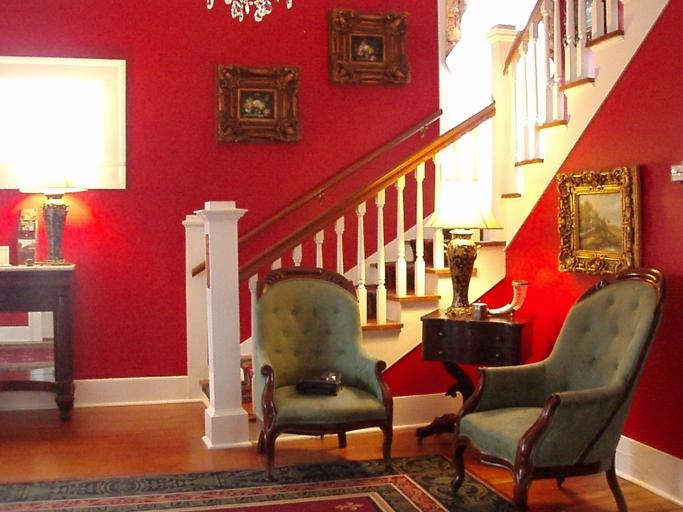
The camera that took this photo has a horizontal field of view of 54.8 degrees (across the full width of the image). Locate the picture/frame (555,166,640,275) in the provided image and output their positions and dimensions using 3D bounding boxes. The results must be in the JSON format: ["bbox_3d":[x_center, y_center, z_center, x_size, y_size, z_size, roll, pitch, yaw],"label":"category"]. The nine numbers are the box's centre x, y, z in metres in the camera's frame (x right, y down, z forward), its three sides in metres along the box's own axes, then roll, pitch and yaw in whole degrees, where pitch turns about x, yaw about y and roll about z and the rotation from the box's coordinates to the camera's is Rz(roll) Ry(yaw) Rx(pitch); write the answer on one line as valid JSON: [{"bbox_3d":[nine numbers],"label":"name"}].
[{"bbox_3d":[1.750,-0.241,4.466,0.092,0.858,0.718,0,-1,-25],"label":"picture/frame"}]

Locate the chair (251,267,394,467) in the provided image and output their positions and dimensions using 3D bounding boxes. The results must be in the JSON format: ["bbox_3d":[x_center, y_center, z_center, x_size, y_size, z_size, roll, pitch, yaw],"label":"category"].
[{"bbox_3d":[-0.132,0.766,4.611,0.917,1.345,0.909,-1,0,-2],"label":"chair"}]

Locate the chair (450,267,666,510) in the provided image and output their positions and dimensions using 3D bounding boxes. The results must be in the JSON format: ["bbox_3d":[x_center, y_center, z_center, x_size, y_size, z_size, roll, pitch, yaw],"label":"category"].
[{"bbox_3d":[1.327,0.815,4.019,1.101,1.463,0.719,-3,9,-21],"label":"chair"}]

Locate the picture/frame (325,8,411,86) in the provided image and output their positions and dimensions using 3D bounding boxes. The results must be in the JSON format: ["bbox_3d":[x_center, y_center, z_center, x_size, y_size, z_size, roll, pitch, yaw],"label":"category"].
[{"bbox_3d":[0.215,-2.032,6.403,0.708,0.625,0.111,0,2,-20],"label":"picture/frame"}]

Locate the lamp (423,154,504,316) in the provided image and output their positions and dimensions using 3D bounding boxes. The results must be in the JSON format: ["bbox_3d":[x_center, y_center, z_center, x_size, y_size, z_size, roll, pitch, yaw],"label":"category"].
[{"bbox_3d":[0.864,-0.115,4.964,0.517,1.075,0.532,0,-3,-14],"label":"lamp"}]

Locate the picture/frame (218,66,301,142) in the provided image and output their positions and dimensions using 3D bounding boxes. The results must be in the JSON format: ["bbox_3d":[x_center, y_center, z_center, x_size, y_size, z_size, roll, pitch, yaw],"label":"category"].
[{"bbox_3d":[-0.811,-1.424,6.156,0.661,0.651,0.080,0,1,-17],"label":"picture/frame"}]

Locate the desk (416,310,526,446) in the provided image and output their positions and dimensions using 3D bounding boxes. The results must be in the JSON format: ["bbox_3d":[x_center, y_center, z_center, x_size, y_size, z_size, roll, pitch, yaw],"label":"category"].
[{"bbox_3d":[0.975,0.939,4.917,0.723,0.972,0.573,3,2,23],"label":"desk"}]
